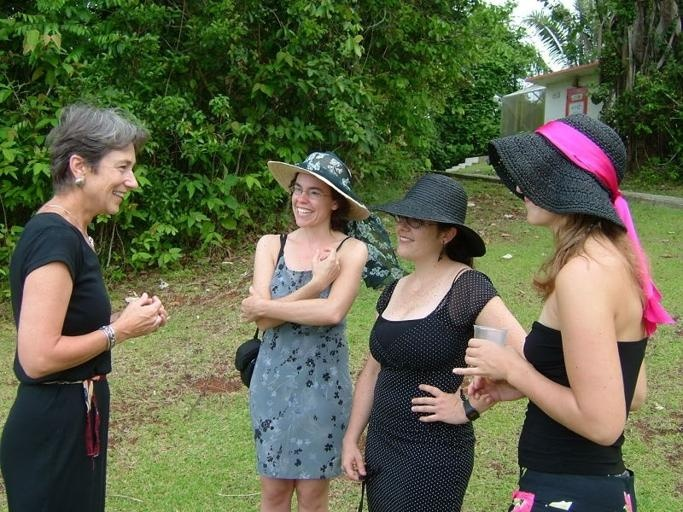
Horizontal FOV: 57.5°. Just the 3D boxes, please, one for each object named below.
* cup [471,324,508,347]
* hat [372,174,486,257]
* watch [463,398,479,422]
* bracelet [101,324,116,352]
[{"bbox_3d":[0.640,0.340,2.689,0.099,0.072,0.096,9,-10,2],"label":"cup"},{"bbox_3d":[0.536,-0.240,3.293,0.575,0.302,0.538,25,1,-13],"label":"hat"},{"bbox_3d":[0.609,0.743,2.959,0.071,0.092,0.105,-31,-22,-3],"label":"watch"},{"bbox_3d":[-1.121,0.393,3.018,0.101,0.098,0.085,-5,-7,-28],"label":"bracelet"}]
